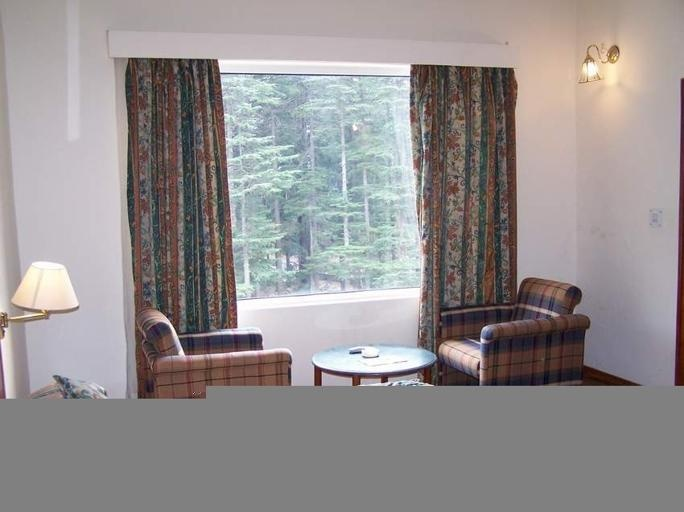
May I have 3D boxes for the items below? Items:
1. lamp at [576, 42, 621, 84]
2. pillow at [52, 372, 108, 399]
[{"bbox_3d":[1.756,-1.332,4.215,0.259,0.217,0.160,-15,23,-10],"label":"lamp"},{"bbox_3d":[-0.971,0.482,2.269,0.163,0.100,0.548,-5,-9,-24],"label":"pillow"}]
